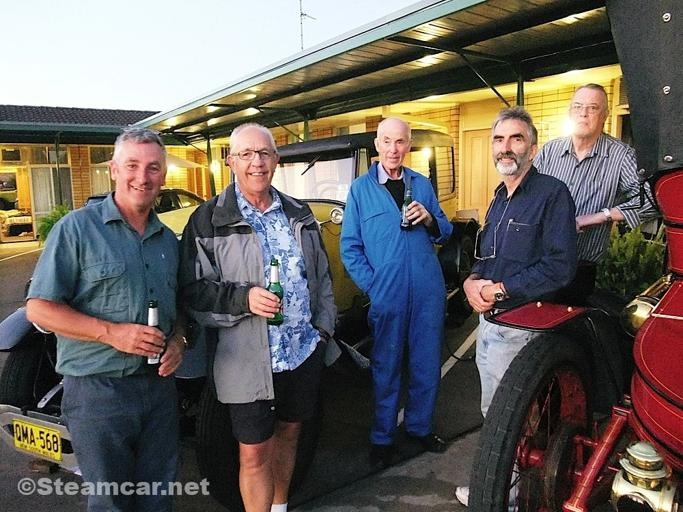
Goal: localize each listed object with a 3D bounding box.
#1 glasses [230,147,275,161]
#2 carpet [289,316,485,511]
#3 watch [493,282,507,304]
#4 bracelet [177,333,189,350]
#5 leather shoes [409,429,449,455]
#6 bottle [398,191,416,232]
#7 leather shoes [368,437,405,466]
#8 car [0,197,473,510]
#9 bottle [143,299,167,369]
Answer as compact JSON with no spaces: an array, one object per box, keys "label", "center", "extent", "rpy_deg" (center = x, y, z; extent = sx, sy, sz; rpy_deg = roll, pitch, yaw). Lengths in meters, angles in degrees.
[{"label":"glasses","center":[-0.493,-0.570,2.795],"extent":[0.242,0.062,0.106],"rpy_deg":[-5,11,-9]},{"label":"carpet","center":[0.106,1.184,4.005],"extent":[1.354,0.320,0.874],"rpy_deg":[-14,26,-36]},{"label":"watch","center":[0.935,0.224,2.931],"extent":[0.048,0.096,0.079],"rpy_deg":[3,8,-16]},{"label":"bracelet","center":[-0.873,0.473,2.743],"extent":[0.074,0.087,0.056],"rpy_deg":[-4,13,46]},{"label":"leather shoes","center":[0.659,1.385,3.763],"extent":[0.298,0.132,0.123],"rpy_deg":[1,4,42]},{"label":"bottle","center":[0.495,-0.351,3.700],"extent":[0.090,0.277,0.284],"rpy_deg":[-1,11,8]},{"label":"leather shoes","center":[0.335,1.497,3.720],"extent":[0.104,0.226,0.314],"rpy_deg":[-8,-21,31]},{"label":"car","center":[-0.190,0.705,4.437],"extent":[2.227,2.044,4.442],"rpy_deg":[0,2,43]},{"label":"bottle","center":[-0.968,0.405,2.519],"extent":[0.086,0.366,0.191],"rpy_deg":[-7,11,-21]}]
